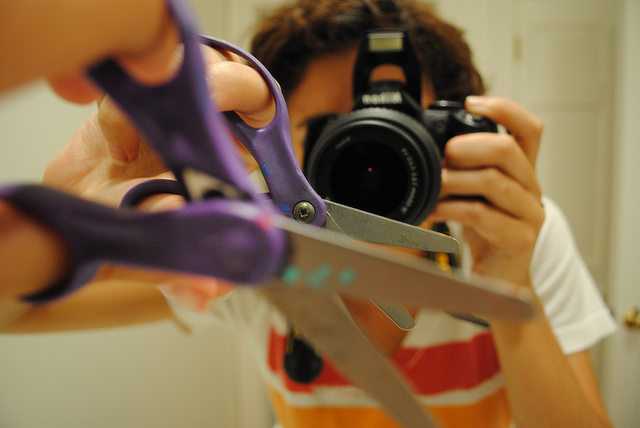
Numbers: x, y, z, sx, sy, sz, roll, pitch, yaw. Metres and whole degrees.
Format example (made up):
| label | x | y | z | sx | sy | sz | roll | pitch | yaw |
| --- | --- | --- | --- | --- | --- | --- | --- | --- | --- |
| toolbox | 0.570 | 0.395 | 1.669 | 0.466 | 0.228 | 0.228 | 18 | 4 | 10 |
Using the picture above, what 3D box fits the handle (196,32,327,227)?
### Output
| label | x | y | z | sx | sy | sz | roll | pitch | yaw |
| --- | --- | --- | --- | --- | --- | --- | --- | --- | --- |
| handle | -0.063 | -0.101 | 0.668 | 0.155 | 0.183 | 0.140 | -2 | 16 | -8 |
